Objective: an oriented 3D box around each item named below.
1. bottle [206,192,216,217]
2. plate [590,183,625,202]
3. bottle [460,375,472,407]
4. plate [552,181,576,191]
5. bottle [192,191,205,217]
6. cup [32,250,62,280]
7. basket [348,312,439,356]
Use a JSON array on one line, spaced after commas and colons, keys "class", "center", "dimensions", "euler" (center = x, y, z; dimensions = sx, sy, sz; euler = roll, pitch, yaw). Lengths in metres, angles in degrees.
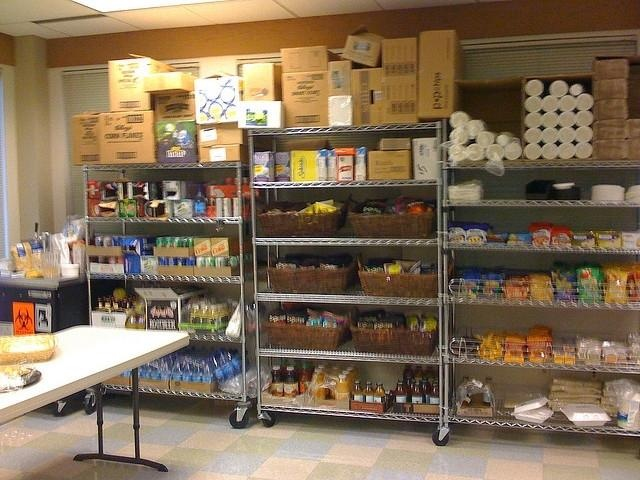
[{"class": "bottle", "center": [-0.901, -0.283, 4.450], "dimensions": [0.110, 0.203, 0.086], "euler": [0, 8, 9]}, {"class": "plate", "center": [2.036, -0.316, 3.805], "dimensions": [0.176, 0.091, 0.173], "euler": [-1, 3, -41]}, {"class": "bottle", "center": [1.138, 1.200, 4.181], "dimensions": [0.081, 0.138, 0.200], "euler": [1, 7, 15]}, {"class": "plate", "center": [1.773, -0.377, 3.887], "dimensions": [0.145, 0.052, 0.082], "euler": [0, 7, 10]}, {"class": "bottle", "center": [-1.026, -0.302, 4.534], "dimensions": [0.117, 0.222, 0.198], "euler": [-3, 8, -12]}, {"class": "cup", "center": [-2.466, 0.233, 4.805], "dimensions": [0.289, 0.258, 0.258], "euler": [2, 2, -1]}, {"class": "basket", "center": [0.599, 0.719, 4.201], "dimensions": [0.510, 0.147, 0.363], "euler": [2, -2, 12]}]
